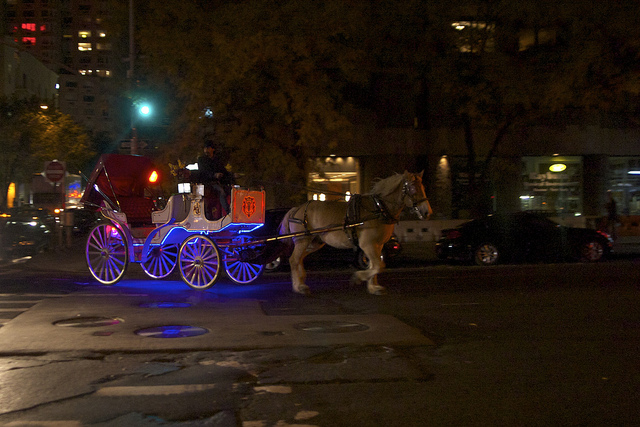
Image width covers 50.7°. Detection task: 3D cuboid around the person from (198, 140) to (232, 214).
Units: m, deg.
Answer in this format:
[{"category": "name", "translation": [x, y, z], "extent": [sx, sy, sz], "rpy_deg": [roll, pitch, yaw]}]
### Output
[{"category": "person", "translation": [-2.694, -0.956, 16.865], "extent": [0.698, 1.686, 1.254], "rpy_deg": [-1, 8, -9]}]

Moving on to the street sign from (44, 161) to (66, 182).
[{"category": "street sign", "translation": [-10.338, -1.623, 26.298], "extent": [0.783, 0.819, 0.845], "rpy_deg": [-3, 8, -19]}]
